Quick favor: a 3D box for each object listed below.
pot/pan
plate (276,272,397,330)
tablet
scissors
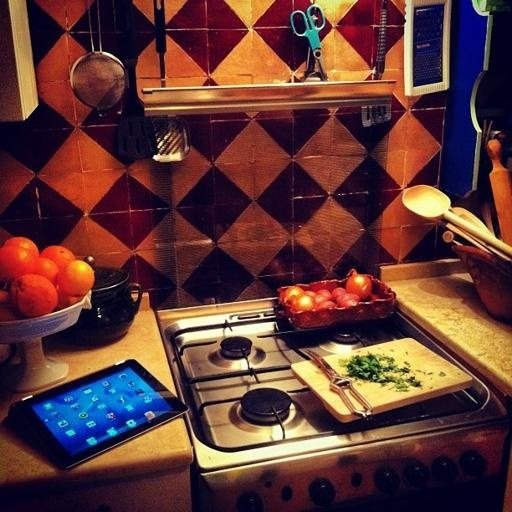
[{"bbox_3d":[-0.373,0.101,1.279,0.204,0.149,0.234,9,17,18],"label":"pot/pan"},{"bbox_3d":[0.243,0.130,1.392,0.291,0.083,0.172,-5,18,-12],"label":"plate"},{"bbox_3d":[-0.329,0.321,1.005,0.291,0.098,0.223,-12,3,-37],"label":"tablet"},{"bbox_3d":[0.156,-0.576,1.323,0.098,0.190,0.078,-12,3,10],"label":"scissors"}]
